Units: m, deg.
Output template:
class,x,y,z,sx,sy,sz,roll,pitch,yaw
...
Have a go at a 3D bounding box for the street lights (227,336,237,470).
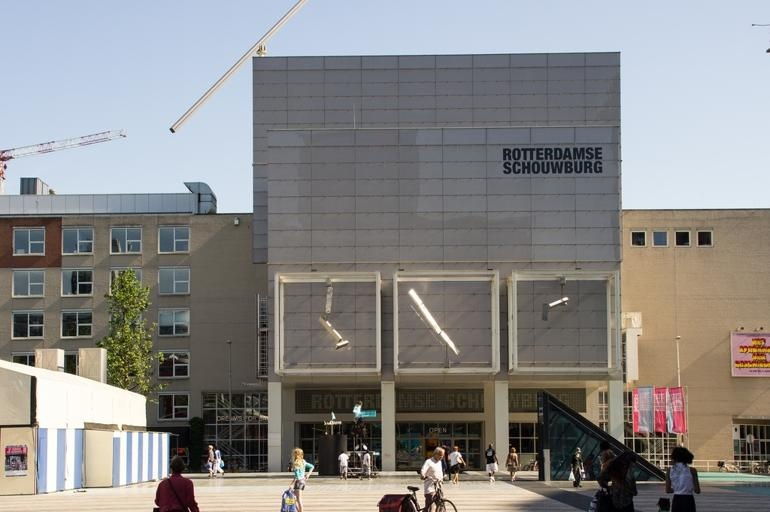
class,x,y,z,sx,sy,sz,roll,pitch,yaw
street lights,-14.033,12.139,167.639,0.513,8.760,0.995,0,-10,-17
